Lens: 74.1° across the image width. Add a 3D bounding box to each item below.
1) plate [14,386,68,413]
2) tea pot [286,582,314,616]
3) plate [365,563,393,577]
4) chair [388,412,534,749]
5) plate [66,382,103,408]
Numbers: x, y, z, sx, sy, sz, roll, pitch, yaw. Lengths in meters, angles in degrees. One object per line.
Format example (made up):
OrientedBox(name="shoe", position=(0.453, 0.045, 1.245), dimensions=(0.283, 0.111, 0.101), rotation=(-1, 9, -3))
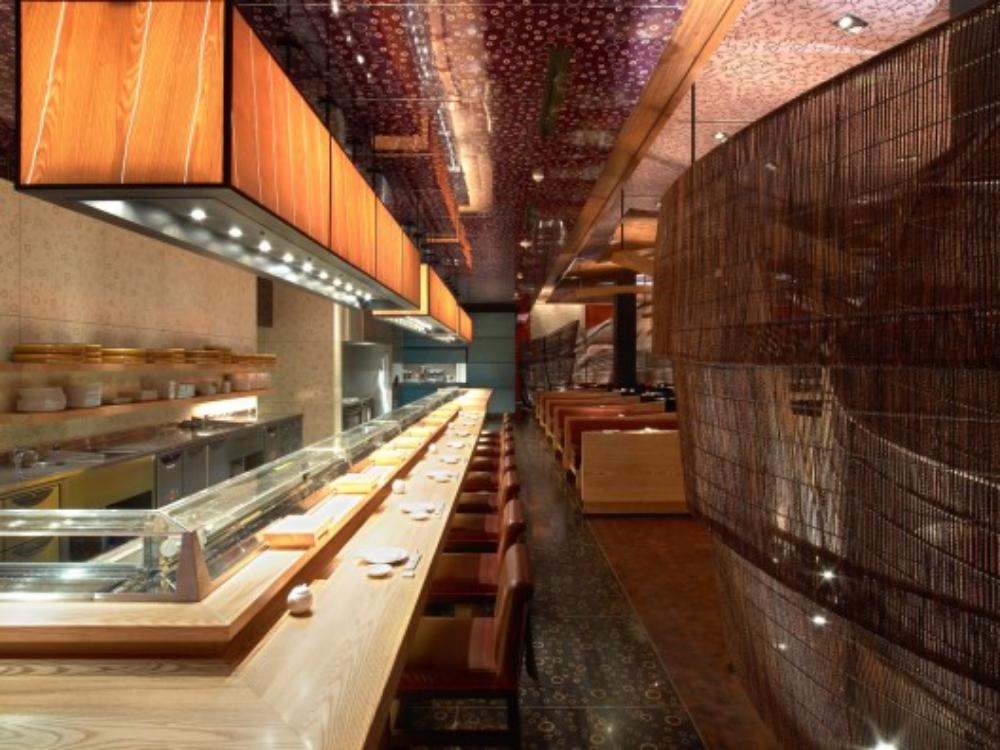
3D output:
OrientedBox(name="plate", position=(-2.788, 0.158, 4.013), dimensions=(0.208, 0.102, 0.185), rotation=(1, -6, -8))
OrientedBox(name="tea pot", position=(-0.653, 0.734, 2.175), dimensions=(0.099, 0.071, 0.092), rotation=(0, 5, 0))
OrientedBox(name="plate", position=(-0.446, 0.725, 2.434), dimensions=(0.094, 0.027, 0.083), rotation=(-4, 7, 3))
OrientedBox(name="chair", position=(-0.198, 0.940, 3.068), dimensions=(0.505, 0.500, 1.340), rotation=(1, 1, 5))
OrientedBox(name="plate", position=(-2.710, 0.131, 4.315), dimensions=(0.196, 0.114, 0.175), rotation=(1, 1, -1))
